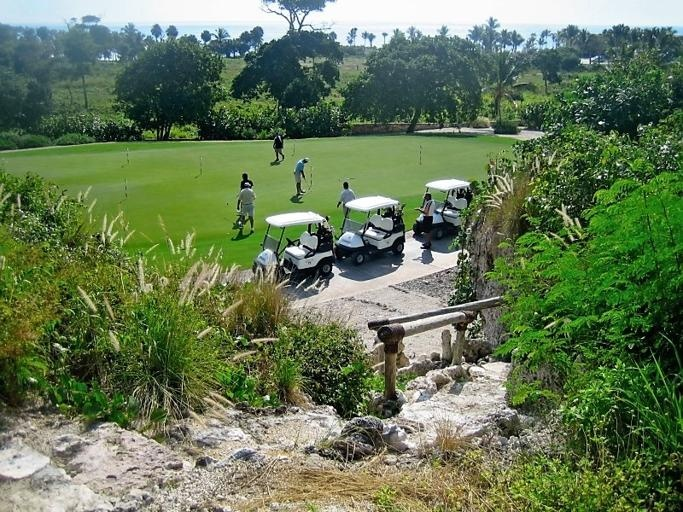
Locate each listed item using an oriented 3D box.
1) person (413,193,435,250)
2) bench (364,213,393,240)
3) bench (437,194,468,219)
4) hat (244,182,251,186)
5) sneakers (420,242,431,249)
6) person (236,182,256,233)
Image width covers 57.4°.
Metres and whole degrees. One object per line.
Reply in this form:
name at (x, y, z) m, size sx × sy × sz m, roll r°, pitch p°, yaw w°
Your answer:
person at (2.623, -1.060, 19.305) m, size 0.441 × 1.696 × 0.668 m, roll 7°, pitch 10°, yaw 12°
bench at (1.024, -0.865, 18.476) m, size 0.857 × 0.612 × 0.647 m, roll 17°, pitch 14°, yaw 43°
bench at (3.702, -1.670, 20.799) m, size 0.854 × 0.638 × 1.457 m, roll 11°, pitch 11°, yaw 19°
hat at (-2.992, -2.252, 19.591) m, size 0.120 × 0.064 × 0.191 m, roll 1°, pitch 16°, yaw 0°
sneakers at (2.629, -0.310, 19.369) m, size 0.270 × 0.120 × 0.173 m, roll -1°, pitch 18°, yaw -43°
person at (-2.954, -1.434, 19.217) m, size 0.497 × 1.474 × 0.906 m, roll 4°, pitch 10°, yaw -10°
